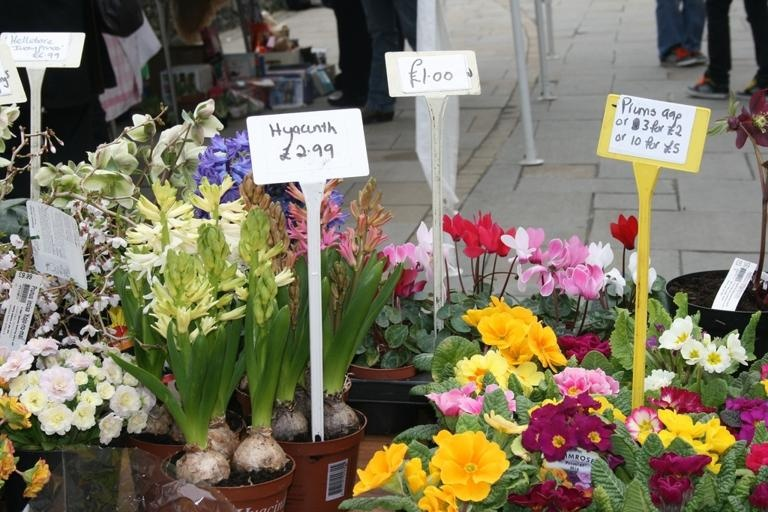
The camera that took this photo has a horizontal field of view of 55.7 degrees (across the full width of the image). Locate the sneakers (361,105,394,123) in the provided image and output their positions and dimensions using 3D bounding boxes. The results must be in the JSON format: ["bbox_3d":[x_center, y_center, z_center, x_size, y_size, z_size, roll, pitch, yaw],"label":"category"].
[{"bbox_3d":[-0.052,-1.006,5.085,0.258,0.128,0.103,-5,40,-4],"label":"sneakers"}]

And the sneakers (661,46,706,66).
[{"bbox_3d":[2.608,-1.747,6.365,0.287,0.148,0.193,8,27,25],"label":"sneakers"}]

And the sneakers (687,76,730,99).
[{"bbox_3d":[2.477,-1.298,5.612,0.327,0.196,0.144,11,22,25],"label":"sneakers"}]
